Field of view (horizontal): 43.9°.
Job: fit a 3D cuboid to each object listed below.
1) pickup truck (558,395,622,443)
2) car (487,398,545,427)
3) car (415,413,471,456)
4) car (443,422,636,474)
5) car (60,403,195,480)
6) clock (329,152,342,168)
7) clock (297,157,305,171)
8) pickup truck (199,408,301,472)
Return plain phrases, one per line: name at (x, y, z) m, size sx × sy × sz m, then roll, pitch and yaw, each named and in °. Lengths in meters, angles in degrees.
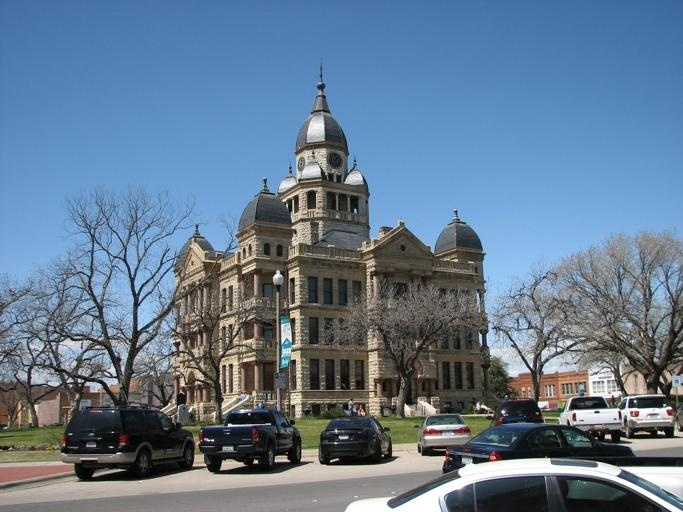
pickup truck at (10.977, 7.326, 38.154) m, size 2.309 × 1.738 × 3.853 m, roll 1°, pitch -7°, yaw -2°
car at (7.126, 6.422, 33.852) m, size 1.495 × 1.178 × 2.367 m, roll 0°, pitch -5°, yaw 5°
car at (3.852, 6.871, 32.856) m, size 1.411 × 0.912 × 2.914 m, roll -1°, pitch -6°, yaw -1°
car at (5.654, 5.457, 22.625) m, size 4.531 × 1.388 × 1.947 m, roll 0°, pitch -9°, yaw -19°
car at (-6.898, 6.111, 27.992) m, size 1.596 × 2.247 × 3.986 m, roll -14°, pitch -19°, yaw 37°
clock at (-0.697, -9.984, 88.659) m, size 1.736 × 1.720 × 0.231 m, roll 12°, pitch -21°, yaw -42°
clock at (-4.256, -9.685, 89.440) m, size 0.358 × 1.644 × 1.703 m, roll 4°, pitch -16°, yaw -21°
pickup truck at (-2.873, 6.433, 29.708) m, size 1.759 × 1.280 × 3.811 m, roll -5°, pitch -11°, yaw 20°
